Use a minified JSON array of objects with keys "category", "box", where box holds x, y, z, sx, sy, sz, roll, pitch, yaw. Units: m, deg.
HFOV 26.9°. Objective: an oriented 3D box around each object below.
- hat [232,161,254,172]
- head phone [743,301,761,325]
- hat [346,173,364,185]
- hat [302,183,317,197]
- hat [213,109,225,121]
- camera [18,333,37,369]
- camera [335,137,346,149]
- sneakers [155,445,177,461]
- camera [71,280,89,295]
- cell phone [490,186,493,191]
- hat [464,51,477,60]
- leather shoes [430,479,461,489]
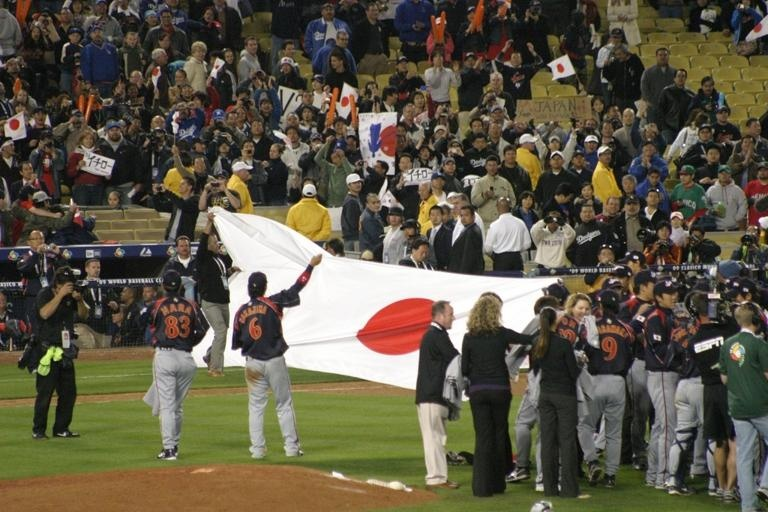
[{"category":"hat","box":[-3.529,-2.204,40.266,0.451,0.176,0.294,-3,5,-10]},{"category":"head phone","box":[7.187,1.094,31.167,0.209,0.421,0.300,-27,29,-13]},{"category":"hat","box":[-0.761,-1.886,39.987,0.265,0.207,0.359,-6,-7,-28]},{"category":"hat","box":[-1.852,-1.589,39.877,0.366,0.229,0.573,0,3,0]},{"category":"hat","box":[-4.452,-3.720,43.398,0.285,0.417,0.400,1,16,-1]},{"category":"camera","box":[-7.766,2.149,34.977,0.375,0.756,0.812,3,-7,-13]},{"category":"camera","box":[-1.125,-2.905,42.373,0.288,0.221,0.391,8,35,-5]},{"category":"sneakers","box":[-4.531,4.101,33.301,0.502,0.230,0.186,4,4,43]},{"category":"camera","box":[-6.591,0.691,35.005,0.230,0.318,0.647,2,-7,-3]},{"category":"cell phone","box":[2.731,-1.647,40.566,0.092,0.093,0.022,4,-13,1]},{"category":"hat","box":[2.526,-5.703,46.298,0.443,0.151,0.460,0,4,11]},{"category":"leather shoes","box":[1.240,4.569,32.081,0.350,0.135,0.236,-5,-4,7]}]
